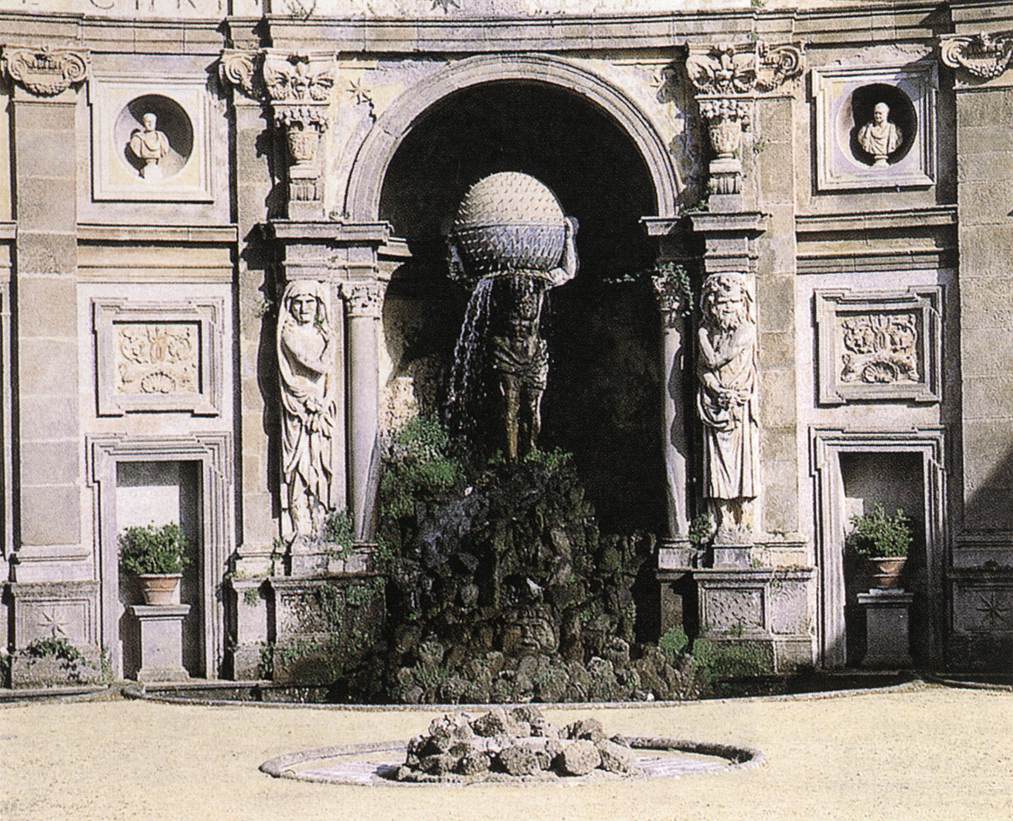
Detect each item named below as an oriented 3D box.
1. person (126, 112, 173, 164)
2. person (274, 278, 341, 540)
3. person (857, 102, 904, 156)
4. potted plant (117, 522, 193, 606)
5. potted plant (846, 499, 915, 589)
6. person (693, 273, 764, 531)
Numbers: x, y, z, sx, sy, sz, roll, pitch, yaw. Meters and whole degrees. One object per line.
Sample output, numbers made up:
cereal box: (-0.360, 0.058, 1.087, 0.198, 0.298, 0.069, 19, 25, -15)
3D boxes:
person: (-4.435, -3.258, 33.622, 0.561, 0.783, 0.276, 2, -11, -28)
person: (-2.481, 0.009, 33.341, 0.617, 3.054, 0.449, -1, -6, -1)
person: (4.527, -3.304, 33.602, 0.565, 0.724, 0.262, -2, -6, 7)
potted plant: (-4.276, 1.910, 33.427, 0.845, 0.905, 0.674, -3, -9, 13)
potted plant: (4.522, 1.666, 33.328, 0.866, 1.168, 0.894, 0, -11, -4)
person: (2.649, -0.073, 33.262, 0.748, 3.079, 0.535, -2, -6, 5)
